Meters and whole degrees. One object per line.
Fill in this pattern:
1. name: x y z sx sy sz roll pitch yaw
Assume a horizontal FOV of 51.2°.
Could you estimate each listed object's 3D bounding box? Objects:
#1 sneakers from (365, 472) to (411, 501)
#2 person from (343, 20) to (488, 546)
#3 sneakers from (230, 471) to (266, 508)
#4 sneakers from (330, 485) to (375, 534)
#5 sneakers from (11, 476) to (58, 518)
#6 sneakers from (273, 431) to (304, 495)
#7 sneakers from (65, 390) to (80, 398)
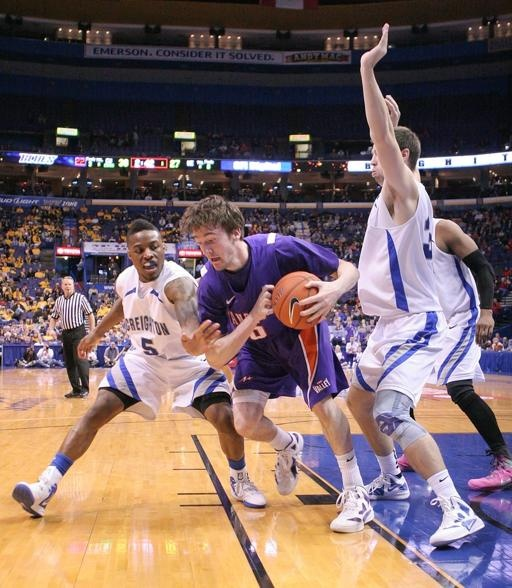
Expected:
1. sneakers: 0.680 1.089 3.049 0.366 0.138 0.120 -1 -9 8
2. person: 0.695 -0.028 2.498 0.565 2.492 1.032 -2 7 8
3. sneakers: -0.055 1.057 2.890 0.113 0.146 0.254 -4 -7 -33
4. sneakers: 0.441 0.999 2.484 0.168 0.174 0.201 0 7 18
5. sneakers: -1.041 0.970 2.547 0.078 0.200 0.185 3 8 36
6. sneakers: 0.222 0.947 2.988 0.134 0.370 0.163 -5 -20 35
7. sneakers: -2.680 1.495 7.934 0.253 0.095 0.080 7 -11 -30
